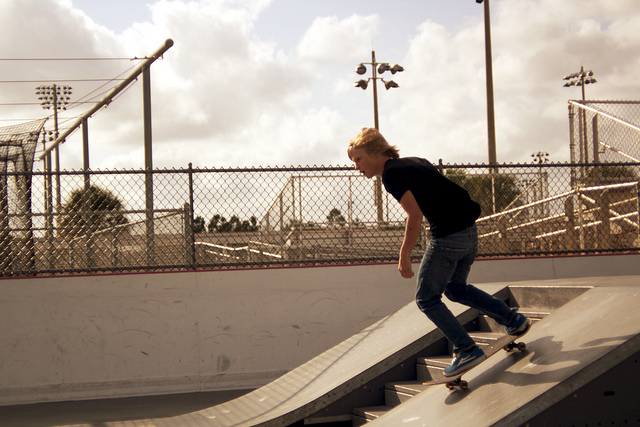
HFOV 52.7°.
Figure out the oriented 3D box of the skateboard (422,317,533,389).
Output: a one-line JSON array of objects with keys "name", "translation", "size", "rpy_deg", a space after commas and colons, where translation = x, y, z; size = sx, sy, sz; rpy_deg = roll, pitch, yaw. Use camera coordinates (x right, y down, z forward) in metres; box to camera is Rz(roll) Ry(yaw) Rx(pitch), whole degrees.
[{"name": "skateboard", "translation": [1.964, 1.779, 8.050], "size": [1.461, 0.230, 0.376], "rpy_deg": [-30, 5, -17]}]
